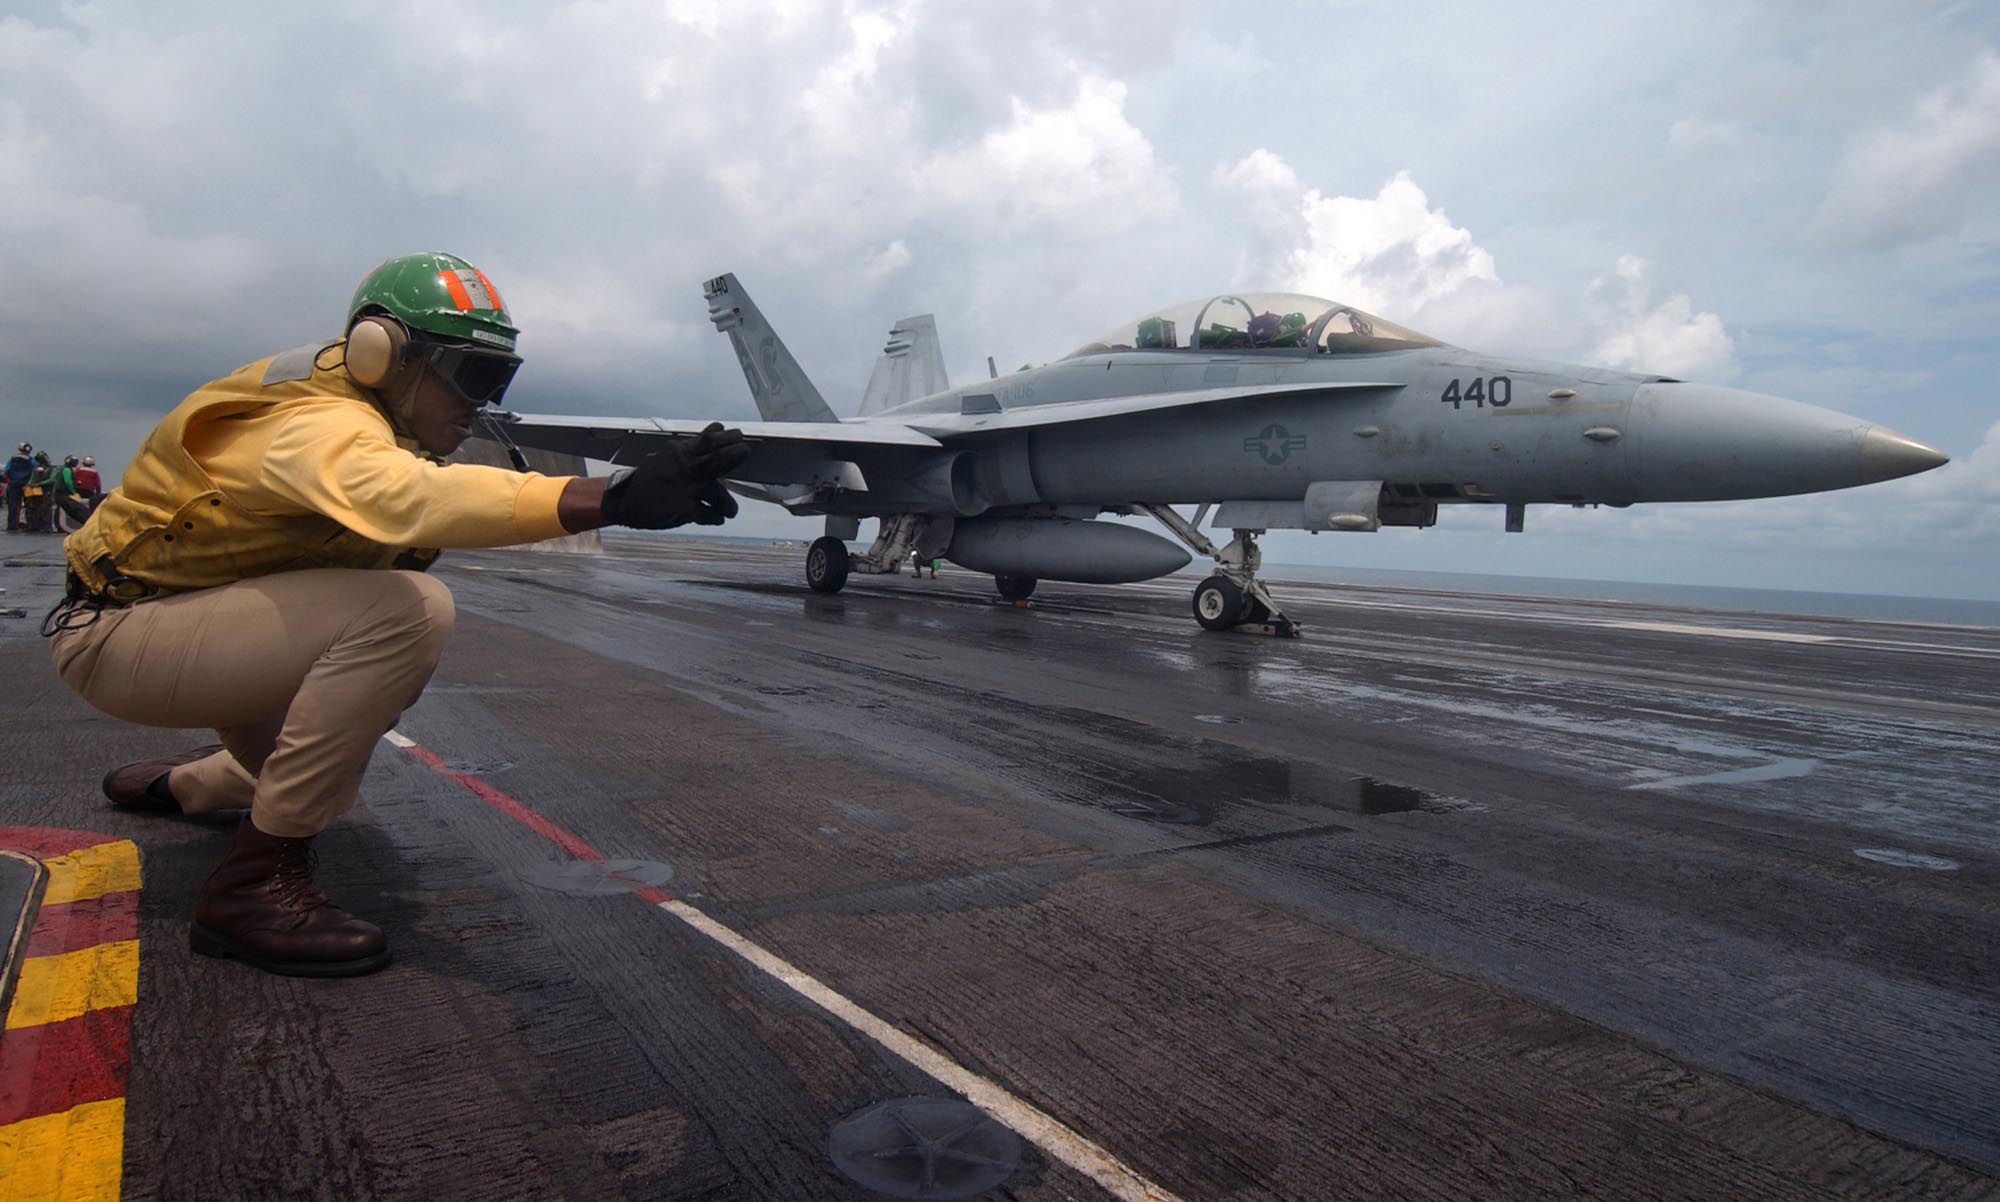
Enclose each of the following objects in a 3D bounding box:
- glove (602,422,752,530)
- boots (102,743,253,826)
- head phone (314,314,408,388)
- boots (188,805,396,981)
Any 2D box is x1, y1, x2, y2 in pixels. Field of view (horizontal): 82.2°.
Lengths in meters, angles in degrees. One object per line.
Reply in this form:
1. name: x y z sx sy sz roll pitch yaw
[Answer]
1. glove: -1.072 -0.348 3.793 0.469 0.356 0.184 0 4 -11
2. boots: -3.612 0.979 5.063 0.679 0.277 0.237 -3 5 1
3. head phone: -2.268 -0.855 4.068 0.263 0.272 0.189 0 3 28
4. boots: -2.476 1.201 3.991 0.723 0.545 0.265 0 4 25
